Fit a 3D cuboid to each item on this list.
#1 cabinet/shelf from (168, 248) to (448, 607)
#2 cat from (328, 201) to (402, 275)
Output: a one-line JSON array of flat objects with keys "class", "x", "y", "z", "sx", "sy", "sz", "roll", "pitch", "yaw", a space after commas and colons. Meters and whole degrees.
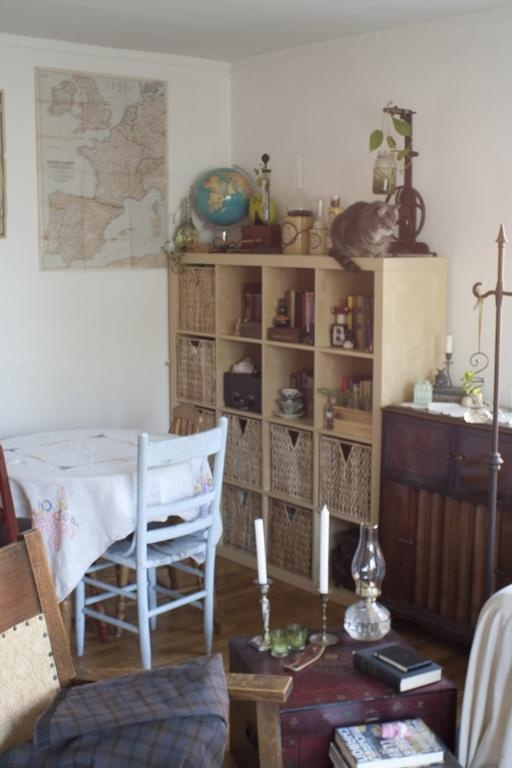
[{"class": "cabinet/shelf", "x": 0.207, "y": 0.163, "z": 3.494, "sx": 0.503, "sy": 1.704, "sz": 1.660, "roll": -8, "pitch": 11, "yaw": -38}, {"class": "cat", "x": 0.440, "y": -0.629, "z": 2.759, "sx": 0.301, "sy": 0.292, "sz": 0.213, "roll": 4, "pitch": 11, "yaw": 19}]
